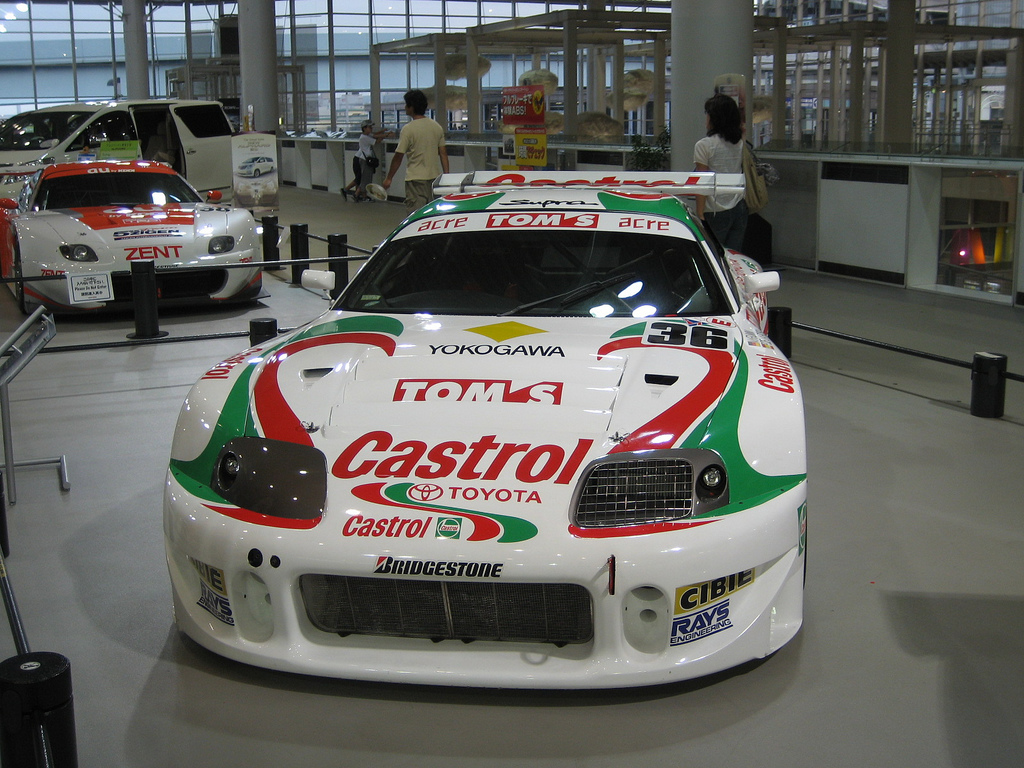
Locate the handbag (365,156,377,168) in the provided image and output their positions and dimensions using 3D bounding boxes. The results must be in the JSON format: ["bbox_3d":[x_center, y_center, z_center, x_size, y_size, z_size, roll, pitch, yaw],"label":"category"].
[{"bbox_3d":[-3.904,-6.238,21.749,0.241,0.296,0.413,6,16,24],"label":"handbag"}]

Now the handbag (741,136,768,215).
[{"bbox_3d":[2.530,-2.160,8.095,0.150,0.672,0.269,-6,19,40],"label":"handbag"}]

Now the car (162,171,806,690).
[{"bbox_3d":[0.050,0.051,3.153,2.237,1.475,2.233,7,17,25],"label":"car"}]
